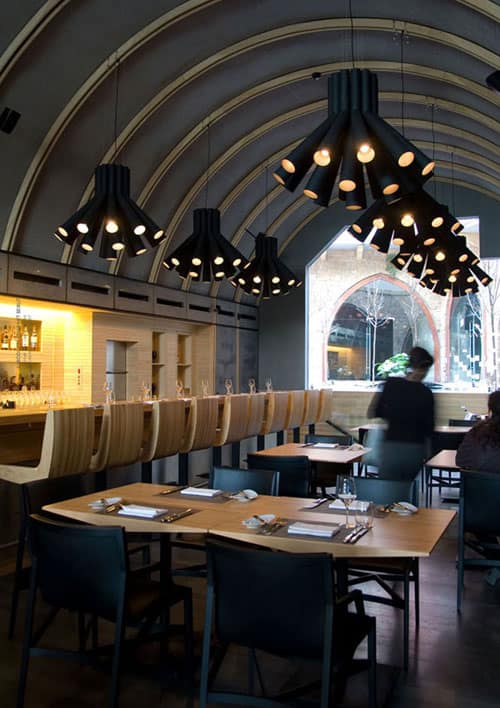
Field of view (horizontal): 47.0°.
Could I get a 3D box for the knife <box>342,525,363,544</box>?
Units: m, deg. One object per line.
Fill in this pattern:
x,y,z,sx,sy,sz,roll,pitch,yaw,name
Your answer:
0.420,0.712,2.300,0.035,0.018,0.159,0,3,20,knife

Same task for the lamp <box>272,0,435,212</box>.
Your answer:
0.537,-1.124,3.061,0.758,1.123,0.783,-1,2,8,lamp

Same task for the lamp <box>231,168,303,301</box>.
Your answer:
0.321,-1.230,7.474,0.867,1.066,0.853,1,0,-38,lamp

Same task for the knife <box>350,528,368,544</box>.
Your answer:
0.430,0.720,2.299,0.033,0.021,0.198,2,5,21,knife

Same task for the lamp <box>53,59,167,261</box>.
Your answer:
-1.104,-1.183,4.628,0.854,0.773,0.499,1,-4,-1,lamp

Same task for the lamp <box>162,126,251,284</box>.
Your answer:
-0.462,-1.214,6.168,0.865,0.793,0.610,3,-4,-24,lamp

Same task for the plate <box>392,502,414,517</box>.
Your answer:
0.750,0.751,2.819,0.119,0.038,0.174,-2,-5,42,plate
